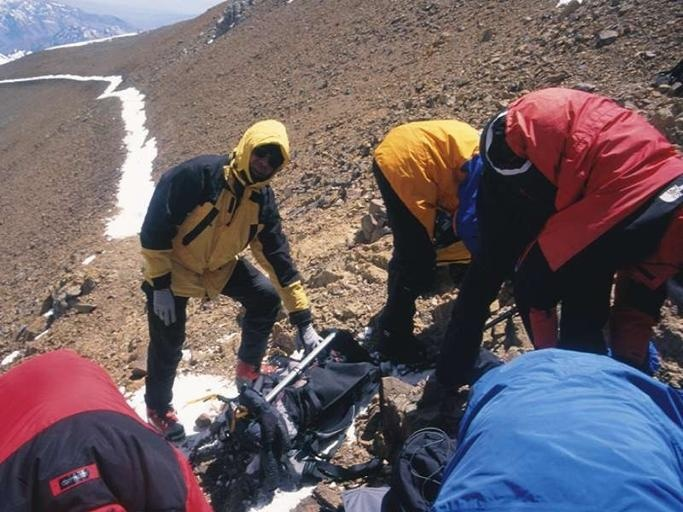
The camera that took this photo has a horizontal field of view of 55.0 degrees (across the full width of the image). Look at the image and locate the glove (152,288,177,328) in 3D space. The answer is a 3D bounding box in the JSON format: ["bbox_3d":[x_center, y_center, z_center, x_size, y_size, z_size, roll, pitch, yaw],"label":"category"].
[{"bbox_3d":[-1.421,0.421,5.277,0.209,0.274,0.080,-8,15,-25],"label":"glove"}]

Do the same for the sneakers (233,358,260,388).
[{"bbox_3d":[-0.842,1.064,5.927,0.307,0.286,0.180,1,18,-3],"label":"sneakers"}]

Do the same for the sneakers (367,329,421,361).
[{"bbox_3d":[0.464,0.813,5.801,0.431,0.231,0.098,8,18,6],"label":"sneakers"}]

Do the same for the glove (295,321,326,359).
[{"bbox_3d":[-0.265,0.766,5.819,0.257,0.132,0.305,-43,52,11],"label":"glove"}]

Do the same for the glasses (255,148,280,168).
[{"bbox_3d":[-0.575,-0.775,5.159,0.161,0.161,0.047,-33,29,41],"label":"glasses"}]
